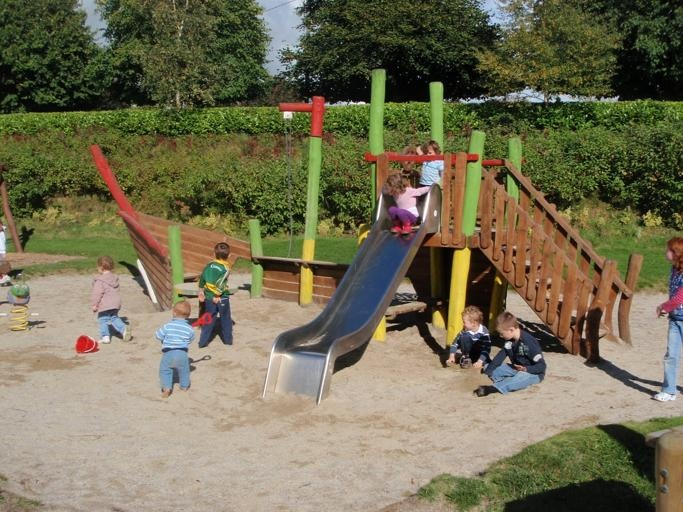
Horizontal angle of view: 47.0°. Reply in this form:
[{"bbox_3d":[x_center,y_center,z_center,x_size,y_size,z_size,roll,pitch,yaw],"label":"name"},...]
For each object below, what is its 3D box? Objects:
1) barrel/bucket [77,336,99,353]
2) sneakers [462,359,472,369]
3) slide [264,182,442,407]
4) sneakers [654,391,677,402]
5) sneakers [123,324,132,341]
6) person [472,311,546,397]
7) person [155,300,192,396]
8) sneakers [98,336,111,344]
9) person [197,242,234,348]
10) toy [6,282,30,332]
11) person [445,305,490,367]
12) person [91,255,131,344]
[{"bbox_3d":[-4.448,1.559,13.743,0.253,0.308,0.303,-1,-18,-35],"label":"barrel/bucket"},{"bbox_3d":[2.148,1.849,13.441,0.142,0.163,0.174,2,-24,2],"label":"sneakers"},{"bbox_3d":[0.289,0.773,15.173,0.933,1.145,5.332,3,39,29],"label":"slide"},{"bbox_3d":[5.002,2.157,12.061,0.271,0.113,0.149,2,3,9],"label":"sneakers"},{"bbox_3d":[-3.879,1.390,14.185,0.121,0.285,0.124,0,-2,-43],"label":"sneakers"},{"bbox_3d":[2.630,1.577,12.795,1.455,1.241,0.979,-10,13,-29],"label":"person"},{"bbox_3d":[-2.592,1.453,12.276,0.545,1.433,0.369,-4,9,-15],"label":"person"},{"bbox_3d":[-4.278,1.505,14.099,0.256,0.113,0.104,5,22,39],"label":"sneakers"},{"bbox_3d":[-2.332,0.671,14.420,0.613,1.800,1.031,-2,9,-8],"label":"person"},{"bbox_3d":[-6.351,0.875,15.405,0.387,0.883,1.953,-5,10,-23],"label":"toy"},{"bbox_3d":[2.174,1.423,13.593,0.708,0.887,0.706,15,23,41],"label":"person"},{"bbox_3d":[-4.099,0.787,13.935,0.595,1.582,0.388,-4,9,-16],"label":"person"}]
